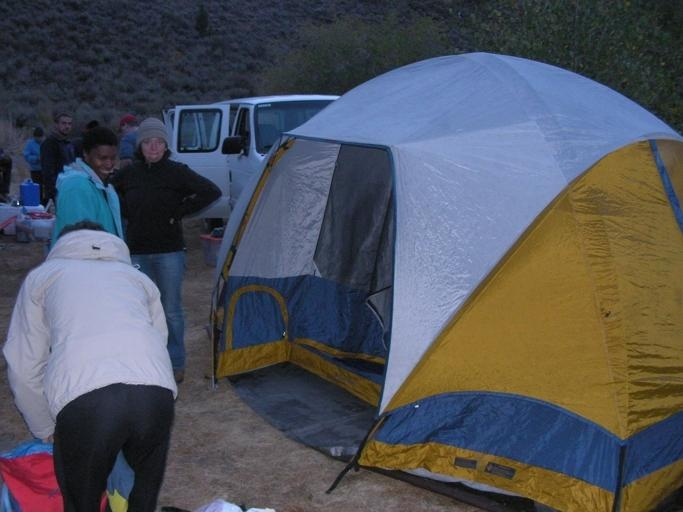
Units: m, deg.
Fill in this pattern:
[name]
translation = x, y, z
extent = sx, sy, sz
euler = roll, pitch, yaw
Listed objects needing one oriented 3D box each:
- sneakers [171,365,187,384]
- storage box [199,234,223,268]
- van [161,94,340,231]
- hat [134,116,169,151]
[sneakers]
translation = -1.458, 1.070, 6.955
extent = 0.113, 0.135, 0.307
euler = 1, 0, -8
[storage box]
translation = -1.802, -0.061, 10.965
extent = 0.339, 0.368, 0.344
euler = 4, 3, 13
[van]
translation = -1.442, -1.492, 11.213
extent = 1.660, 1.559, 2.860
euler = -5, 14, -24
[hat]
translation = -1.615, -1.063, 6.645
extent = 0.255, 0.249, 0.242
euler = 2, 16, -15
